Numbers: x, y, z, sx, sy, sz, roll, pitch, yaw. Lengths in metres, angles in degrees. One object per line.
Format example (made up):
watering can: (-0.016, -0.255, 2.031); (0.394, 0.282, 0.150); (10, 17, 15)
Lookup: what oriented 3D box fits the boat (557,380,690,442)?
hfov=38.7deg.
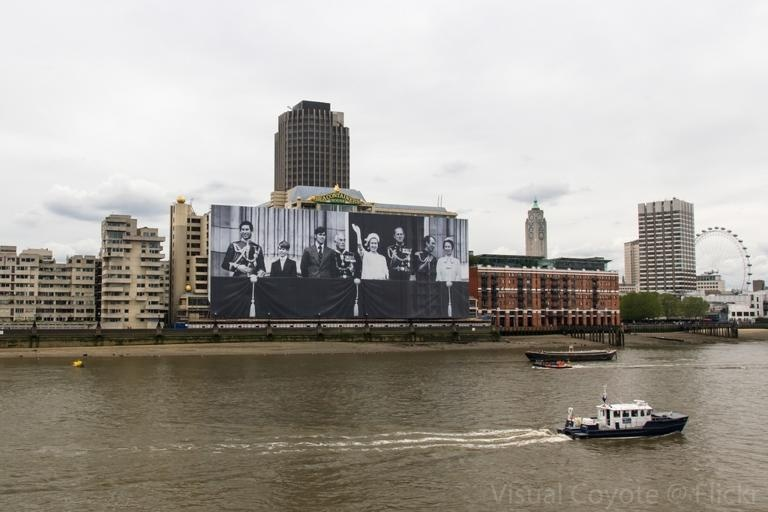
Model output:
boat: (31.094, 20.722, 141.222); (16.083, 4.919, 7.228); (0, -2, -10)

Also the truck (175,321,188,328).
truck: (-44.727, 14.973, 240.479); (1.824, 1.320, 4.327); (0, 3, -21)
